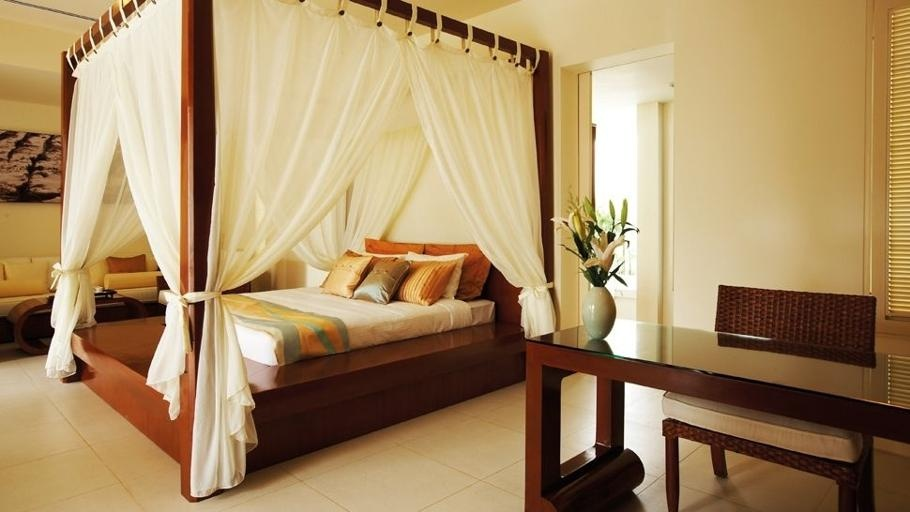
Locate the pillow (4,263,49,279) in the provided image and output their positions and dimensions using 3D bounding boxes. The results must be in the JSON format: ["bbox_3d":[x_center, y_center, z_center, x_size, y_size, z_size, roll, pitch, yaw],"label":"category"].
[{"bbox_3d":[-5.864,0.207,7.746,0.544,0.197,0.230,0,6,-29],"label":"pillow"}]

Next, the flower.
[{"bbox_3d":[1.051,-0.082,4.211,0.748,0.637,0.579,4,5,33],"label":"flower"}]

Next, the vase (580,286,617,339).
[{"bbox_3d":[1.022,0.422,4.220,0.406,0.357,0.391,1,5,5],"label":"vase"}]

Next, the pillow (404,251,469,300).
[{"bbox_3d":[-0.161,0.226,6.136,0.169,0.531,0.559,21,-17,-41],"label":"pillow"}]

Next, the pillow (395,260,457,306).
[{"bbox_3d":[-0.295,0.258,5.956,0.517,0.486,0.156,8,-20,36],"label":"pillow"}]
